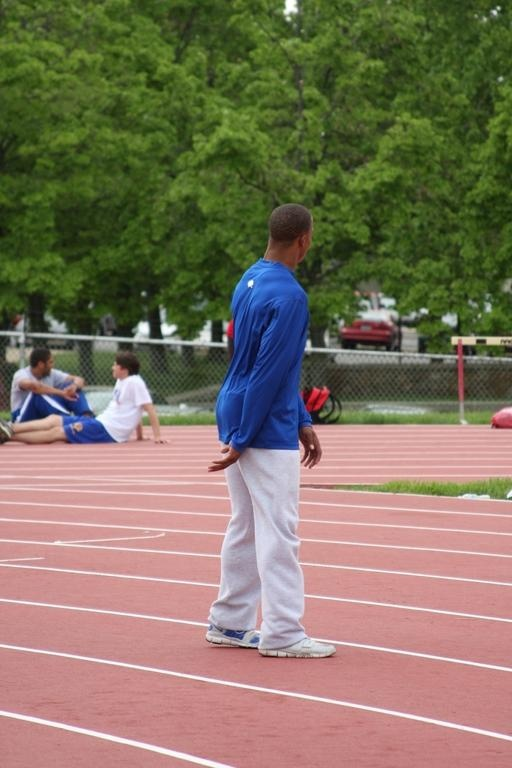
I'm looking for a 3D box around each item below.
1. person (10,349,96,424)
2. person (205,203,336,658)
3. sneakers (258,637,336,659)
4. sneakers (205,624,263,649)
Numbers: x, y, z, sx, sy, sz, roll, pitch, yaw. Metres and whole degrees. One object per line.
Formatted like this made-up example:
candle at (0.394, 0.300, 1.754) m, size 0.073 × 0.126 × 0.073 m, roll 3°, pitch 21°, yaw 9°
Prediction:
person at (-2.452, 0.071, 13.229) m, size 0.947 × 1.033 × 0.753 m, roll 0°, pitch 7°, yaw 8°
person at (0.028, 0.166, 4.044) m, size 0.468 × 1.520 × 0.485 m, roll -2°, pitch 0°, yaw -3°
sneakers at (0.138, 0.938, 4.013) m, size 0.252 × 0.089 × 0.102 m, roll -2°, pitch 3°, yaw 4°
sneakers at (-0.085, 0.936, 4.184) m, size 0.216 × 0.107 × 0.086 m, roll 3°, pitch 2°, yaw -4°
